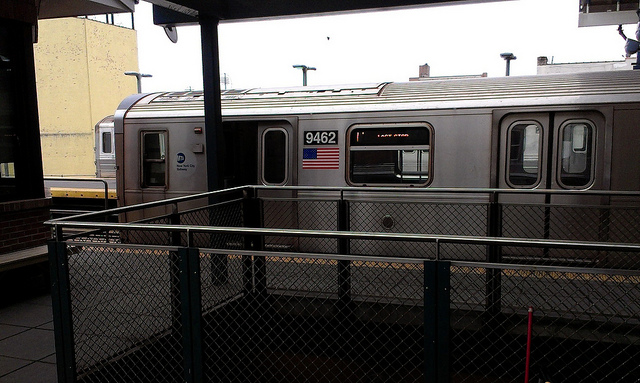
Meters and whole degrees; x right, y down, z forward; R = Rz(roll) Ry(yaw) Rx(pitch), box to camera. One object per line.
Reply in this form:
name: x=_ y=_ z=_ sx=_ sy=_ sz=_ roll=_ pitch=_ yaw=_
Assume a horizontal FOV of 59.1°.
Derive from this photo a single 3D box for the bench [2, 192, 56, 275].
bench: x=-5.886 y=0.797 z=11.495 sx=0.822 sy=1.390 sz=1.204 roll=8 pitch=11 yaw=43
